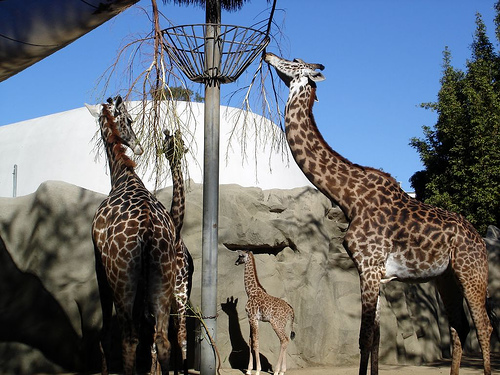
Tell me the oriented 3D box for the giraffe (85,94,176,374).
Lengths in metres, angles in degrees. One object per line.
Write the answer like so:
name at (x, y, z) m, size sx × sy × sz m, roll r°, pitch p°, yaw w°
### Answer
giraffe at (-1.595, 0.556, 7.715) m, size 1.128 × 3.817 × 0.769 m, roll 1°, pitch -17°, yaw -10°

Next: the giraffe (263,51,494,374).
giraffe at (2.039, 0.593, 8.872) m, size 3.522 × 4.642 × 2.545 m, roll -2°, pitch -18°, yaw 0°
